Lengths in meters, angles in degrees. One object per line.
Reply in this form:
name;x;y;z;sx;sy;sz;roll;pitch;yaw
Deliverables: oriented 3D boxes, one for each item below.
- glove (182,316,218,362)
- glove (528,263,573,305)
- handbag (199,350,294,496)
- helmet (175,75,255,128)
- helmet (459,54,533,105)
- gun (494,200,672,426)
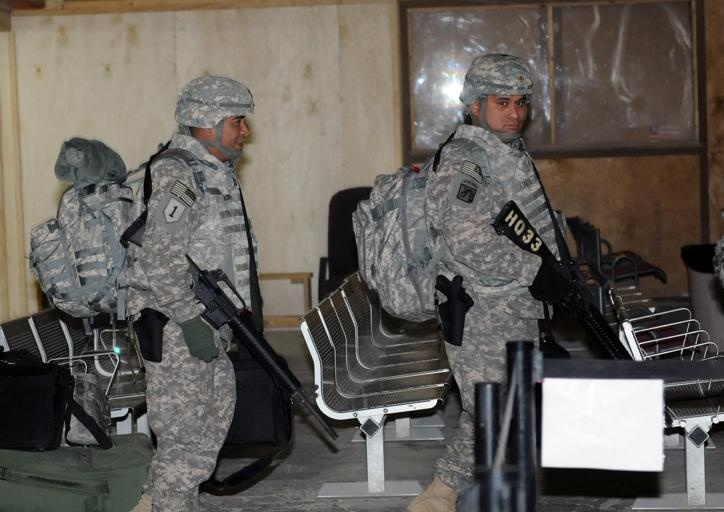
glove;-0.840;0.436;4.804;0.154;0.255;0.062;-26;9;-6
glove;0.983;0.132;5.016;0.236;0.226;0.164;16;5;-26
handbag;-0.540;0.977;5.433;0.700;0.903;0.336;-2;4;11
helmet;-0.802;-0.870;5.098;0.336;0.189;0.330;-4;14;0
helmet;0.758;-0.991;5.103;0.319;0.189;0.311;-5;10;-32
gun;1.079;0.136;5.002;0.770;0.932;0.175;-4;14;-7
